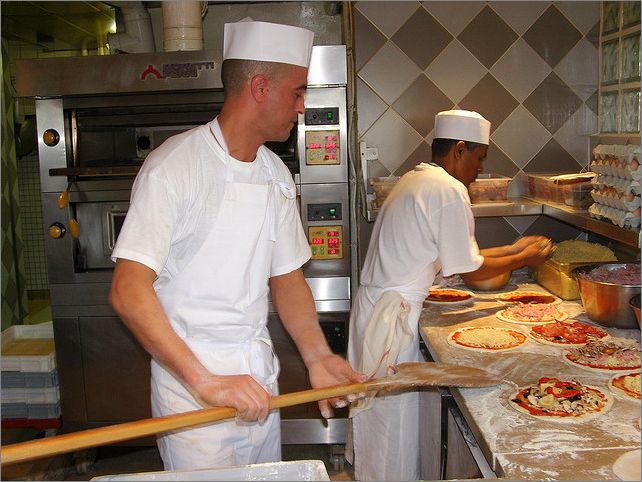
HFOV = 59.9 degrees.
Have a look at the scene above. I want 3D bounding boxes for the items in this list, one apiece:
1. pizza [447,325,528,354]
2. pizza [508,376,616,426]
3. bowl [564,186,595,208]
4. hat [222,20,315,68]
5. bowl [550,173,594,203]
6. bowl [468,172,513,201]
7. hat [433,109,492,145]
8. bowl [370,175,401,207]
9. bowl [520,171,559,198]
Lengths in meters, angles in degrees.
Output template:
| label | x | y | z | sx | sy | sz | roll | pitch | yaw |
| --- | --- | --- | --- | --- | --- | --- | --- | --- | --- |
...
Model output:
| label | x | y | z | sx | sy | sz | roll | pitch | yaw |
| --- | --- | --- | --- | --- | --- | --- | --- | --- | --- |
| pizza | 0.750 | 0.448 | 2.527 | 0.347 | 0.047 | 0.242 | 0 | 4 | 15 |
| pizza | 0.863 | 0.565 | 2.013 | 0.365 | 0.087 | 0.254 | -1 | 4 | -7 |
| bowl | 1.341 | -0.236 | 2.891 | 0.090 | 0.106 | 0.157 | 0 | 3 | -4 |
| hat | -0.174 | -0.706 | 2.077 | 0.255 | 0.108 | 0.194 | -6 | 15 | -40 |
| bowl | 1.351 | -0.286 | 2.962 | 0.141 | 0.088 | 0.235 | -1 | 0 | 2 |
| bowl | 1.032 | -0.334 | 3.539 | 0.184 | 0.116 | 0.265 | -1 | 1 | -1 |
| hat | 0.742 | -0.565 | 2.912 | 0.210 | 0.128 | 0.222 | 4 | 9 | 6 |
| bowl | 0.356 | -0.328 | 3.425 | 0.105 | 0.150 | 0.109 | -3 | 1 | 0 |
| bowl | 1.335 | -0.353 | 3.454 | 0.220 | 0.084 | 0.140 | -2 | 5 | -44 |
